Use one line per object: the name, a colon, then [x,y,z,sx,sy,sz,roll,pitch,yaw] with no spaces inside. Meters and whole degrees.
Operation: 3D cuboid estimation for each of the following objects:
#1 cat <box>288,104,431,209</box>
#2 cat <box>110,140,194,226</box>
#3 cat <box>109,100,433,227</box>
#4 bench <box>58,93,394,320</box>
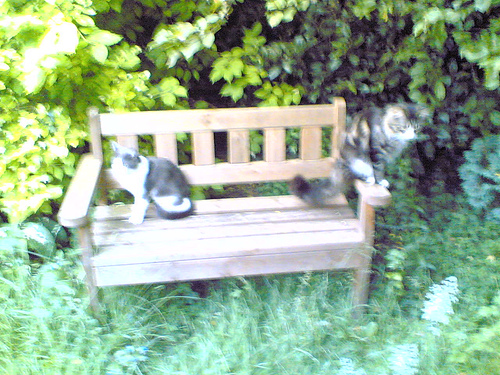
cat: [0.640,-0.181,2.819,0.840,0.594,0.385,0,29,7]
cat: [-0.585,-0.018,2.741,0.486,0.472,0.272,-19,41,-21]
cat: [0.099,-0.156,2.803,1.968,0.575,0.537,-3,28,1]
bench: [-0.169,0.138,2.776,1.665,1.011,0.607,-3,45,-2]
